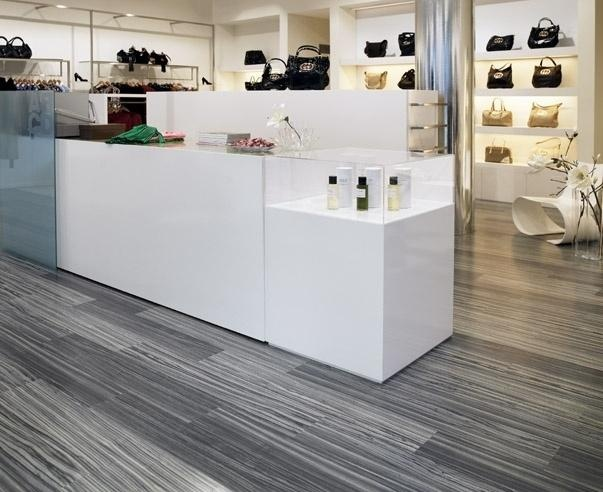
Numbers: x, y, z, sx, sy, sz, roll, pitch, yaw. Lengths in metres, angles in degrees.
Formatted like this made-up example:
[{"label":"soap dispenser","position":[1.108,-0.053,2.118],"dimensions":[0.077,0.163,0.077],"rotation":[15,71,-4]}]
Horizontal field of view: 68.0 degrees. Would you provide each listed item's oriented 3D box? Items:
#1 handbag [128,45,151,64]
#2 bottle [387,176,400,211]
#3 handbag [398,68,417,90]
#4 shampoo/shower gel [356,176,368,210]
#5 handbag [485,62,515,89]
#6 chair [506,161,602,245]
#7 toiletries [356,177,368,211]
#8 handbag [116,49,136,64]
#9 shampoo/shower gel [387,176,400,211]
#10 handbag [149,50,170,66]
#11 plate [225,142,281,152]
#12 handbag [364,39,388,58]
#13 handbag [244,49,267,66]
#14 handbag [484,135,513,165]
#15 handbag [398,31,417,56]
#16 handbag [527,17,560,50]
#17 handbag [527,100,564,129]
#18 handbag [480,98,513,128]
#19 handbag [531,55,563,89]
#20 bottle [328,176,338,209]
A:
[{"label":"handbag","position":[-3.187,-3.767,8.823],"dimensions":[0.621,0.414,0.334],"rotation":[15,20,34]},{"label":"bottle","position":[0.452,-0.264,2.208],"dimensions":[0.060,0.172,0.049],"rotation":[0,11,4]},{"label":"handbag","position":[1.723,-2.770,7.346],"dimensions":[0.218,0.316,0.290],"rotation":[0,12,2]},{"label":"shampoo/shower gel","position":[0.292,-0.265,2.211],"dimensions":[0.054,0.170,0.101],"rotation":[-7,13,-29]},{"label":"handbag","position":[3.008,-2.596,6.766],"dimensions":[0.491,0.476,0.191],"rotation":[12,18,41]},{"label":"chair","position":[2.716,-0.420,4.620],"dimensions":[0.847,0.898,0.955],"rotation":[-5,12,-23]},{"label":"toiletries","position":[0.292,-0.265,2.211],"dimensions":[0.054,0.170,0.101],"rotation":[-7,13,-29]},{"label":"handbag","position":[-3.382,-3.703,8.692],"dimensions":[0.277,0.163,0.367],"rotation":[-20,31,-38]},{"label":"shampoo/shower gel","position":[0.459,-0.266,2.215],"dimensions":[0.077,0.172,0.052],"rotation":[-2,11,-9]},{"label":"handbag","position":[-2.842,-3.800,9.110],"dimensions":[0.412,0.312,0.166],"rotation":[19,-4,-21]},{"label":"plate","position":[-0.324,-0.604,2.717],"dimensions":[0.418,0.070,0.212],"rotation":[7,14,28]},{"label":"handbag","position":[1.310,-3.491,7.897],"dimensions":[0.404,0.344,0.416],"rotation":[2,12,10]},{"label":"handbag","position":[-0.984,-4.047,9.580],"dimensions":[0.445,0.352,0.306],"rotation":[-1,12,-5]},{"label":"handbag","position":[3.067,-1.501,6.944],"dimensions":[0.476,0.446,0.198],"rotation":[12,16,44]},{"label":"handbag","position":[1.735,-3.365,7.413],"dimensions":[0.222,0.428,0.361],"rotation":[1,12,5]},{"label":"handbag","position":[3.460,-3.076,6.396],"dimensions":[0.387,0.508,0.409],"rotation":[6,13,29]},{"label":"handbag","position":[3.539,-1.922,6.480],"dimensions":[0.471,0.446,0.186],"rotation":[9,9,39]},{"label":"handbag","position":[3.020,-2.073,6.902],"dimensions":[0.505,0.464,0.192],"rotation":[10,11,38]},{"label":"handbag","position":[3.522,-2.502,6.419],"dimensions":[0.375,0.463,0.396],"rotation":[6,13,28]},{"label":"bottle","position":[0.158,-0.275,2.265],"dimensions":[0.050,0.171,0.031],"rotation":[1,11,9]}]
